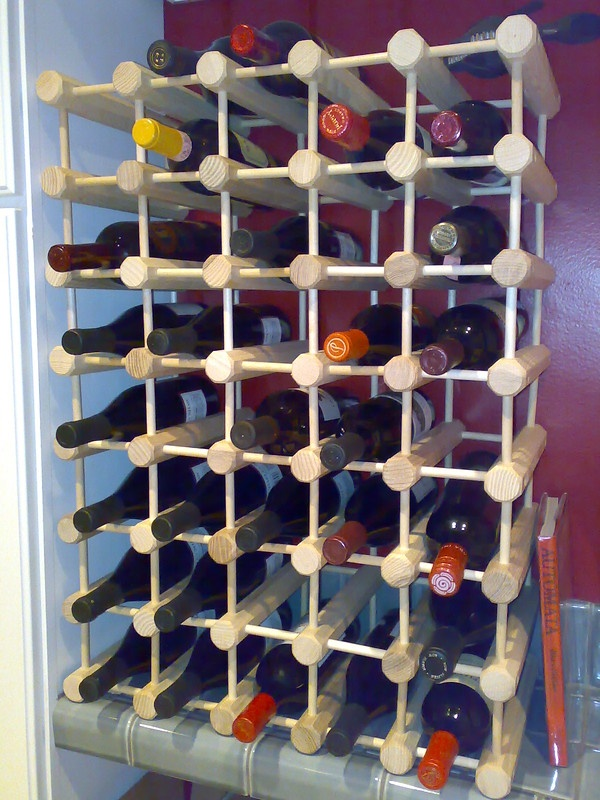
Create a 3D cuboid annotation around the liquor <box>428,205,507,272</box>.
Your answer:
[{"bbox_3d":[0.217,-0.206,0.979,0.072,0.187,0.071,43,-70,5],"label":"liquor"}]
